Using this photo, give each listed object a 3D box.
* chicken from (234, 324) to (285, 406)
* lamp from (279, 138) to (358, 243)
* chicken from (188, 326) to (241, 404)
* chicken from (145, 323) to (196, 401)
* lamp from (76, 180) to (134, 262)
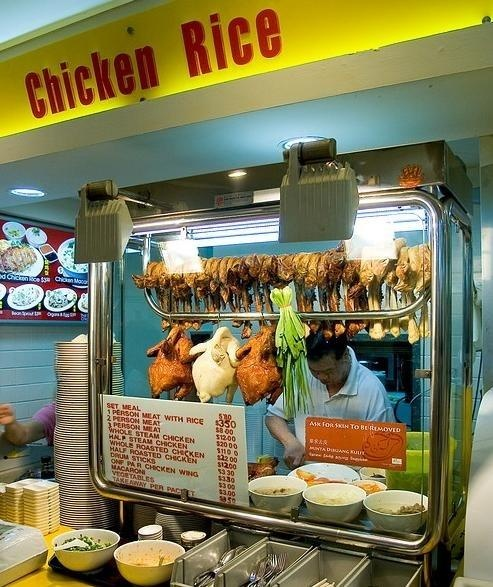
[{"bbox_3d":[0.046,0.214,1.416,0.162,0.211,0.099,6,-3,32],"label":"chicken"},{"bbox_3d":[0.168,-0.236,1.069,0.171,0.210,0.108,3,11,30],"label":"lamp"},{"bbox_3d":[-0.107,0.233,1.504,0.173,0.237,0.198,5,-7,21],"label":"chicken"},{"bbox_3d":[-0.259,0.240,1.564,0.157,0.224,0.154,12,-5,-20],"label":"chicken"},{"bbox_3d":[-0.392,-0.199,1.314,0.183,0.226,0.105,-3,-2,37],"label":"lamp"}]
